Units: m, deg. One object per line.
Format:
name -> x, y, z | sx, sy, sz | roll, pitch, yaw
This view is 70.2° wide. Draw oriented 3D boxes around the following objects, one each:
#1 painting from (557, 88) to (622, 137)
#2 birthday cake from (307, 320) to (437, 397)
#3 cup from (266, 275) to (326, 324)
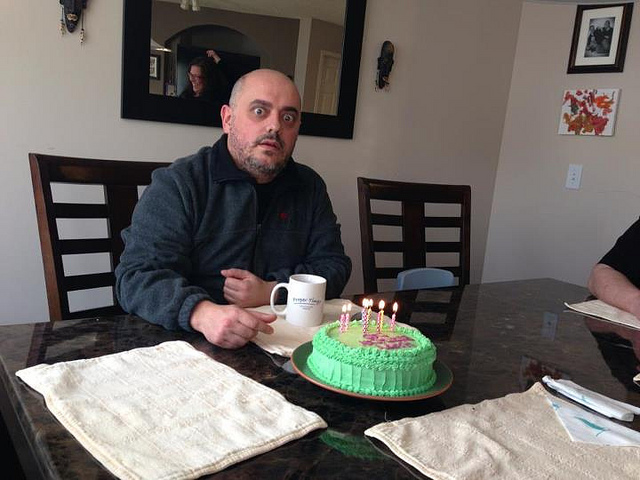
painting -> 1.722, -0.824, 2.912 | 0.055, 0.310, 0.332 | -4, 11, -43
birthday cake -> 0.091, 0.203, 0.889 | 0.195, 0.120, 0.243 | 2, 5, -8
cup -> -0.068, 0.153, 1.223 | 0.159, 0.127, 0.104 | 0, 6, -8
